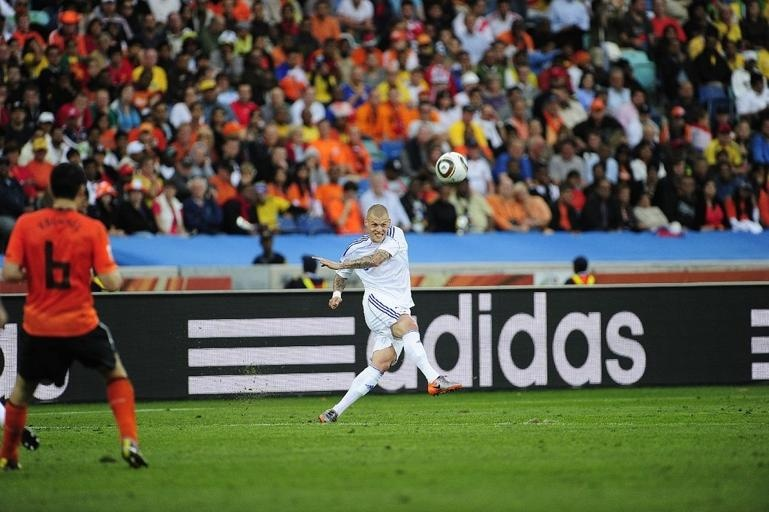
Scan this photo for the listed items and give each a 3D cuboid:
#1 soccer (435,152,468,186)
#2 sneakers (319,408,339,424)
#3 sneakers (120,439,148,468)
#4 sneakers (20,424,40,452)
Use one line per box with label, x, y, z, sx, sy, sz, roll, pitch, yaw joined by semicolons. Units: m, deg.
soccer;1.111;-1.485;23.678;0.500;0.520;0.494;19;-5;3
sneakers;-0.827;2.410;21.632;0.144;0.162;0.307;-11;0;6
sneakers;-3.450;2.723;19.887;0.209;0.250;0.544;-22;-44;7
sneakers;-5.067;2.618;20.757;0.229;0.337;0.080;-12;8;-3
